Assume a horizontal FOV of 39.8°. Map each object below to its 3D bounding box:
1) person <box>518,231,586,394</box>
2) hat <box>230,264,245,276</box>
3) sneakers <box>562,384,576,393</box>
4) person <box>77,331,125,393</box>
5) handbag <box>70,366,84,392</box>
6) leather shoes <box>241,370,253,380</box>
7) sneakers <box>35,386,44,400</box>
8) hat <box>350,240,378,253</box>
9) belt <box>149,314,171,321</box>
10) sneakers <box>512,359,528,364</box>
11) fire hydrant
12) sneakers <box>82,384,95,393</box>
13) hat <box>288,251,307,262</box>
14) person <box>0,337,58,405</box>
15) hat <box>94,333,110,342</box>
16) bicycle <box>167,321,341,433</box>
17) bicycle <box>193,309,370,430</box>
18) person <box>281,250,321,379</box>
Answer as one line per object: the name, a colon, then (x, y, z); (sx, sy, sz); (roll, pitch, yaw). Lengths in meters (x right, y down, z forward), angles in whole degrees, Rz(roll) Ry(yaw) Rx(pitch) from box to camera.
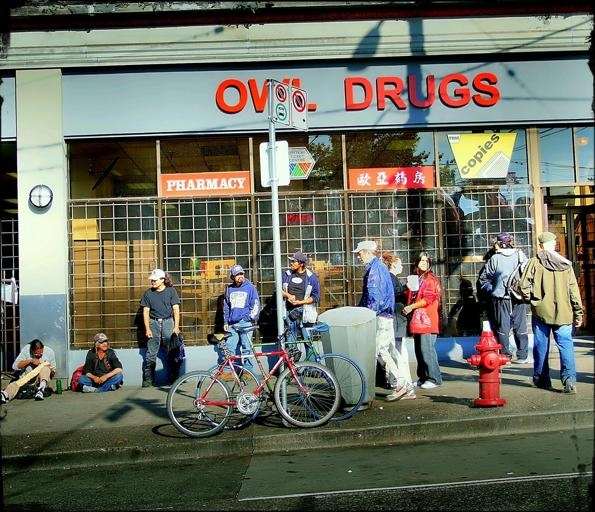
person: (3.375, 0.738, 10.984); (0.775, 1.563, 0.577); (-5, -3, 23)
hat: (-0.944, 0.239, 12.705); (0.167, 0.161, 0.202); (-3, -2, -14)
sneakers: (3.518, 1.724, 10.685); (0.102, 0.111, 0.148); (0, -4, -19)
person: (-3.163, 1.670, 12.977); (0.825, 1.081, 0.807); (3, -2, -20)
handbag: (-3.441, 1.913, 12.782); (0.267, 0.358, 0.127); (-4, -6, 8)
leather shoes: (-0.621, 1.452, 10.028); (0.136, 0.083, 0.041); (44, 12, 25)
sneakers: (-3.861, 2.055, 12.302); (0.077, 0.094, 0.228); (5, 23, -10)
hat: (0.945, -0.138, 11.344); (0.263, 0.137, 0.194); (2, -4, 5)
belt: (-2.147, 0.967, 12.884); (0.324, 0.082, 0.060); (-3, -2, -12)
sneakers: (3.536, 1.677, 13.091); (0.233, 0.102, 0.082); (2, -4, -28)
fire hydrant: (2.375, 1.349, 10.301); (0.501, 0.730, 0.287); (-4, -3, 11)
sneakers: (-3.203, 2.039, 12.606); (0.224, 0.082, 0.099); (2, 6, -2)
hat: (0.006, 0.022, 13.107); (0.217, 0.115, 0.158); (5, 6, 0)
person: (-4.061, 1.757, 12.620); (0.493, 0.714, 1.010); (19, -1, -5)
hat: (-3.057, 1.265, 12.703); (0.150, 0.128, 0.235); (1, -8, -32)
bicycle: (-0.553, 1.546, 9.938); (2.086, 1.238, 0.947); (-4, -25, -7)
bicycle: (-0.407, 1.405, 10.367); (2.216, 1.382, 1.006); (5, -13, 37)
person: (-0.035, 0.862, 13.246); (0.621, 1.825, 0.619); (6, 14, 11)
